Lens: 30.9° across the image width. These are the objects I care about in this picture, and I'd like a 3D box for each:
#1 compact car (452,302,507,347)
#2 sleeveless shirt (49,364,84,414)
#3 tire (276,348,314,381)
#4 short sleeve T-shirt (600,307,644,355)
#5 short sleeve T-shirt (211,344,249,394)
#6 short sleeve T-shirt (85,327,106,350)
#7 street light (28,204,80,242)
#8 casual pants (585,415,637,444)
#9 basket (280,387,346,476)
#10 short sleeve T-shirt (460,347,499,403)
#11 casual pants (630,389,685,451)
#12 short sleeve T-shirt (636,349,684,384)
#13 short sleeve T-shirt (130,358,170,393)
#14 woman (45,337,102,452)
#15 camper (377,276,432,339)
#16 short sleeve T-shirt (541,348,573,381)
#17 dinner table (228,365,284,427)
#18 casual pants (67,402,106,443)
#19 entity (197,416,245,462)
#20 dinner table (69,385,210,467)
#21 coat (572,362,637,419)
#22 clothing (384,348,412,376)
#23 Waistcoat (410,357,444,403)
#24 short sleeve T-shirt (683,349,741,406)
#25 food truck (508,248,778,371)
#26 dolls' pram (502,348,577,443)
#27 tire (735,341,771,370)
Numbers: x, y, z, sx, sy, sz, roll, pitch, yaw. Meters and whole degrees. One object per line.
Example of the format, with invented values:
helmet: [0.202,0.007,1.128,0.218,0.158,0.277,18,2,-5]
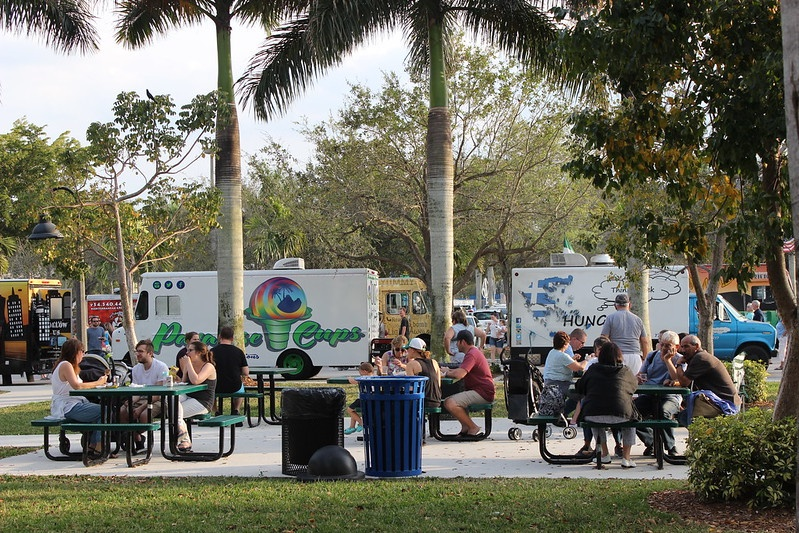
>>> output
compact car: [3.330,2.486,56.170,1.590,1.729,2.937,1,4,23]
sleeveless shirt: [-6.815,2.670,30.189,0.821,1.430,0.991,0,1,-15]
tire: [-2.890,2.752,40.911,0.763,0.902,0.295,-1,7,4]
short sleeve T-shirt: [4.968,1.418,31.969,1.262,1.285,0.764,1,4,1]
short sleeve T-shirt: [-3.799,2.197,32.233,0.960,1.260,0.632,5,23,4]
short sleeve T-shirt: [-8.558,2.076,40.951,0.649,0.924,0.532,3,-8,-31]
street light: [-8.949,-1.051,36.911,0.882,0.700,0.957,-4,2,-2]
casual pants: [4.399,3.262,29.207,0.918,0.380,0.627,0,9,9]
basket: [-1.822,3.307,28.821,1.430,2.098,1.428,1,-4,2]
short sleeve T-shirt: [1.769,2.399,31.503,0.660,1.293,1.189,-6,-11,14]
casual pants: [5.298,3.221,29.690,0.988,1.115,1.072,0,-2,3]
short sleeve T-shirt: [5.561,2.247,30.692,0.985,1.071,0.609,7,-8,20]
short sleeve T-shirt: [-5.212,2.326,30.675,0.850,0.774,0.502,-2,-6,11]
woman: [-6.666,2.792,30.310,1.042,2.529,1.058,0,-8,-13]
camper: [0.219,1.465,46.653,2.171,2.359,1.433,-1,3,18]
short sleeve T-shirt: [3.377,2.109,30.713,0.608,0.658,0.597,-11,12,-44]
dinner table: [-3.256,3.094,33.982,1.183,1.356,1.289,-1,-6,8]
casual pants: [-6.484,3.437,30.239,0.925,0.507,0.693,1,-9,-3]
entity: [-3.757,3.651,30.464,0.590,0.847,1.610,4,0,9]
dinner table: [-5.379,3.156,30.097,2.006,1.170,1.790,-5,-6,43]
coat: [4.288,2.532,29.417,0.940,1.143,1.097,1,6,8]
clothing: [-0.071,2.198,32.529,0.741,0.844,0.466,0,-6,4]
Waistcoat: [0.558,2.560,30.931,0.653,1.111,0.580,4,-14,-32]
short sleeve T-shirt: [6.370,2.301,29.689,1.013,1.133,0.455,-4,-5,12]
food truck: [6.944,1.204,42.403,8.497,4.877,3.224,0,-1,5]
dolls' pram: [3.033,2.874,31.569,1.070,1.945,1.530,0,-3,43]
tire: [9.404,2.390,38.648,0.732,0.861,0.279,1,1,-7]
